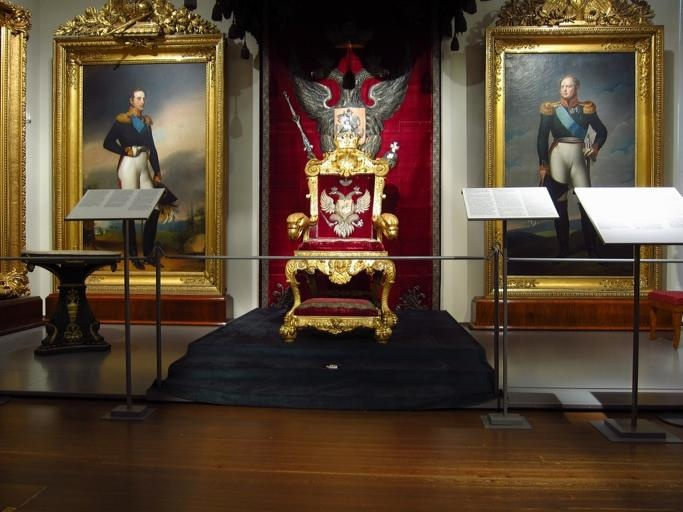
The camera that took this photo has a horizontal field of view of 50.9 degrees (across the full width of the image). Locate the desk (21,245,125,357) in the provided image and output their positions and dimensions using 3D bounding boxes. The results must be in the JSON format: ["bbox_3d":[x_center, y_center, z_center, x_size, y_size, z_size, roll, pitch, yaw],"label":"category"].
[{"bbox_3d":[-2.329,0.403,6.731,0.825,0.961,0.963,1,2,2],"label":"desk"}]
